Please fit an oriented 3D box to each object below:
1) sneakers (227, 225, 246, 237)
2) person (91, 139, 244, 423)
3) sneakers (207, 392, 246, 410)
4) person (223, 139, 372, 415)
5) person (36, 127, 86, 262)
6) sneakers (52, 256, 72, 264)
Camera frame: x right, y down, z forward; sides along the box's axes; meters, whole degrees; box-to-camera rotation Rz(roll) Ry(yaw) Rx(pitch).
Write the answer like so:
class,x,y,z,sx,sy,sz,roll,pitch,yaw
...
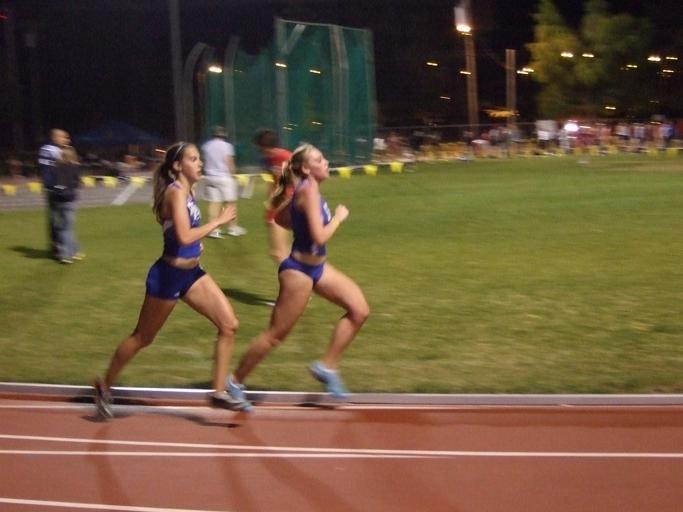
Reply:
class,x,y,z,sx,sy,sz,roll,pitch,yaw
sneakers,-1.855,-0.431,15.612,0.359,0.142,0.161,-1,9,19
person,-1.408,0.207,7.299,1.111,2.190,0.553,-2,13,-7
sneakers,-0.932,1.196,7.398,0.380,0.148,0.120,7,-4,-3
person,-0.349,0.159,7.545,1.166,2.138,0.707,-3,13,-11
person,-3.975,-0.839,12.695,0.565,1.880,0.497,0,13,3
sneakers,-3.998,0.072,12.782,0.276,0.103,0.094,12,-6,14
